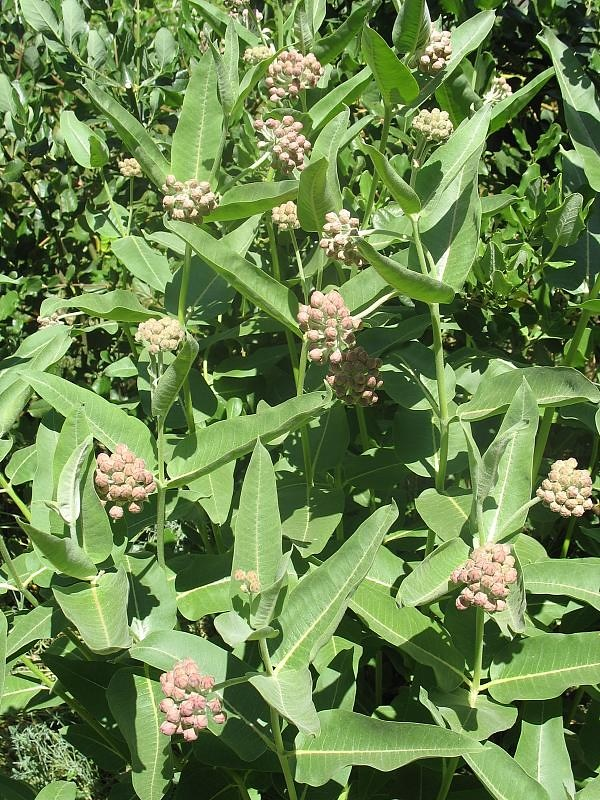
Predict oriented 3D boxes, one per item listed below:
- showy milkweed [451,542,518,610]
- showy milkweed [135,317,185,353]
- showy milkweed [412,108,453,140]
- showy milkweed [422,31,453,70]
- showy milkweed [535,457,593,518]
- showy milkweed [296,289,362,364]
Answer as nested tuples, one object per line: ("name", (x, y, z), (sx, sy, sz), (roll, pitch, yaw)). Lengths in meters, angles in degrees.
("showy milkweed", (0.476, 0.442, 2.195), (0.149, 0.176, 0.104), (17, 2, -7))
("showy milkweed", (-0.403, -0.191, 2.437), (0.148, 0.068, 0.130), (-8, 40, -4))
("showy milkweed", (0.414, -0.885, 2.726), (0.121, 0.092, 0.070), (1, 26, -11))
("showy milkweed", (0.417, -1.064, 2.621), (0.100, 0.112, 0.053), (20, 24, -6))
("showy milkweed", (0.802, 0.263, 2.563), (0.193, 0.133, 0.209), (5, 38, 9))
("showy milkweed", (0.087, -0.189, 2.384), (0.193, 0.214, 0.178), (-6, 70, 8))
